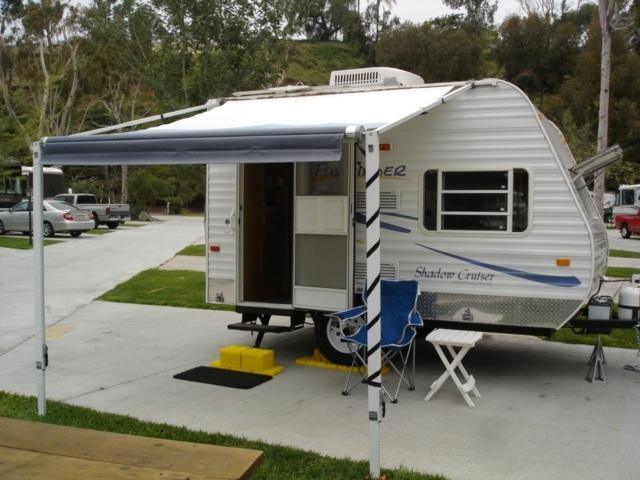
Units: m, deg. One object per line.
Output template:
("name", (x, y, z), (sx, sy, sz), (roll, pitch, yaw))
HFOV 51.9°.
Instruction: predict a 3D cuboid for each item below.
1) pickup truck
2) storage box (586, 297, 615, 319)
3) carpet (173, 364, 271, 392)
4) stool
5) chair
("pickup truck", (-9.578, -1.077, 28.332), (2.714, 1.711, 2.065), (-2, 7, -35))
("storage box", (3.661, 0.901, 8.642), (0.226, 0.288, 0.394), (1, 1, 25))
("carpet", (-1.287, 1.840, 8.794), (1.229, 0.020, 0.651), (3, 8, 19))
("stool", (1.730, 1.498, 8.336), (0.728, 0.930, 0.893), (2, 2, 22))
("chair", (0.721, 1.232, 8.351), (1.054, 1.498, 1.005), (2, 1, 13))
